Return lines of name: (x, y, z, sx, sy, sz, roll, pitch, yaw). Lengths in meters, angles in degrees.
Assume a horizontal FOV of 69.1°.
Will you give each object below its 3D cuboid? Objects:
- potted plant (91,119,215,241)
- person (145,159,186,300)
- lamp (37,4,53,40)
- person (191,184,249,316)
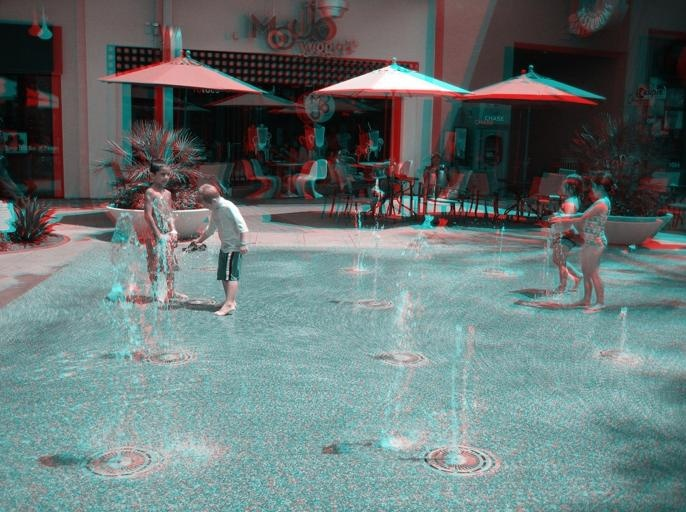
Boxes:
potted plant: (-4.310, -1.626, 11.645, 2.800, 2.771, 2.528, -12, 20, -27)
person: (-2.578, -0.350, 7.076, 0.463, 1.942, 0.543, -7, 14, -32)
lamp: (-9.375, -7.300, 15.587, 0.430, 0.977, 0.193, -6, 14, -28)
person: (-1.702, -0.159, 6.973, 0.710, 1.689, 1.510, -2, 12, -13)
